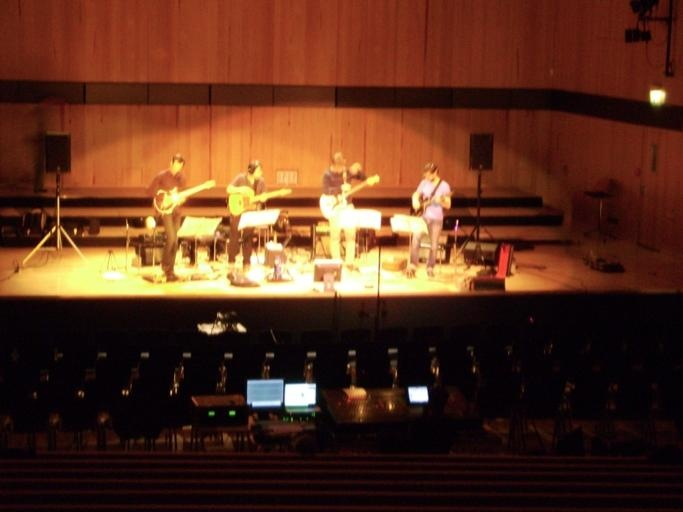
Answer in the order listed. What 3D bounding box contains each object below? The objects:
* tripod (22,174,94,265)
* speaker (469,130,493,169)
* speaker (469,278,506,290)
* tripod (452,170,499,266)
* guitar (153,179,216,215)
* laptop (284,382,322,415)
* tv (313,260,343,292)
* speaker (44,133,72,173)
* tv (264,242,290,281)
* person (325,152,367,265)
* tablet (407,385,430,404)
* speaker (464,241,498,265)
[{"bbox_3d":[-4.768,-0.679,13.356,0.746,1.387,0.927,3,12,-8],"label":"tripod"},{"bbox_3d":[2.337,-1.726,13.575,0.373,0.604,0.434,1,12,6],"label":"speaker"},{"bbox_3d":[2.127,0.402,11.783,0.520,0.173,0.115,-1,12,-7],"label":"speaker"},{"bbox_3d":[2.342,-0.689,13.494,0.626,1.763,0.671,5,13,23],"label":"tripod"},{"bbox_3d":[-2.385,-0.810,11.786,0.718,0.426,0.318,1,12,5],"label":"guitar"},{"bbox_3d":[-0.511,1.726,9.892,0.401,0.320,0.206,0,12,1],"label":"laptop"},{"bbox_3d":[-0.192,0.271,11.753,0.402,0.395,0.464,-3,13,-12],"label":"tv"},{"bbox_3d":[-4.622,-1.569,13.159,0.452,0.719,0.368,-2,-25,-18],"label":"speaker"},{"bbox_3d":[-1.034,0.005,12.686,0.323,0.680,0.387,-1,41,-6],"label":"tv"},{"bbox_3d":[0.003,-0.839,12.898,0.623,1.872,0.489,-3,44,-2],"label":"person"},{"bbox_3d":[0.924,1.696,9.877,0.277,0.229,0.171,2,28,1],"label":"tablet"},{"bbox_3d":[2.227,-0.063,13.041,0.483,0.380,0.345,9,23,38],"label":"speaker"}]
